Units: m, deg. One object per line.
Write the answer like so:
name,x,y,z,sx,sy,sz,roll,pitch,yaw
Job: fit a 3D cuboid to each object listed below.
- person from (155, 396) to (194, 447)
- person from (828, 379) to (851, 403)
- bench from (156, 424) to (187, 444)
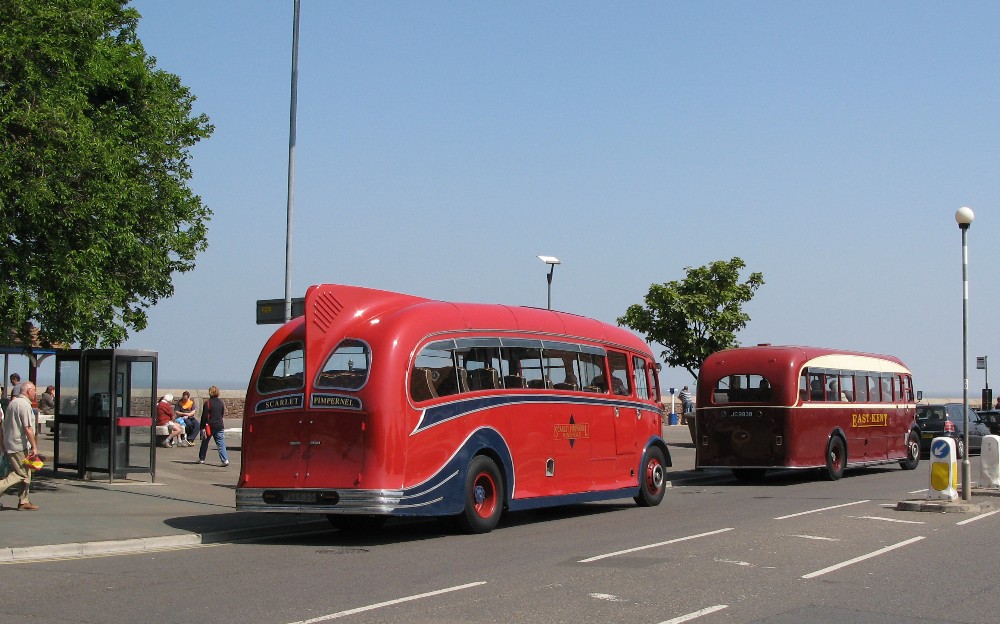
person,-12.210,3.967,35.837,1.203,2.086,0.837,3,11,-13
person,10.370,2.425,29.598,0.393,0.489,0.737,-7,-9,38
bench,-12.073,4.427,35.344,1.270,0.864,0.819,-1,-3,37
